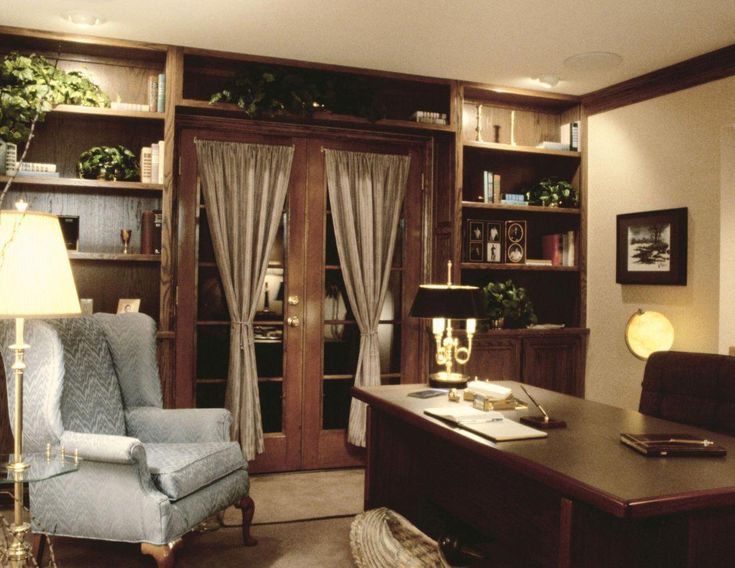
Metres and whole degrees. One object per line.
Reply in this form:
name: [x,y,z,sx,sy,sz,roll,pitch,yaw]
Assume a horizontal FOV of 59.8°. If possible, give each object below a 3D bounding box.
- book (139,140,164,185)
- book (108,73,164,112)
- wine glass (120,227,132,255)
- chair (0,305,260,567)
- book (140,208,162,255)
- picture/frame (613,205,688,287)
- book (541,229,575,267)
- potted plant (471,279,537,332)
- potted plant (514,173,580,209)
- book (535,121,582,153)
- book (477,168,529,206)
book: [-1.525,-0.848,4.523,0.152,0.297,0.229,-8,9,-37]
book: [-1.626,-1.350,4.546,0.377,0.312,0.315,-5,8,-21]
wine glass: [-1.708,-0.305,4.528,0.082,0.170,0.250,-5,7,-20]
chair: [-1.348,0.827,4.019,1.321,1.852,1.484,-1,-2,14]
book: [-1.532,-0.362,4.535,0.122,0.366,0.293,0,3,-18]
picture/frame: [2.147,-0.283,4.804,0.048,0.589,0.587,2,-4,-29]
book: [1.625,-0.278,5.599,0.240,0.419,0.418,1,4,-7]
potted plant: [1.166,0.168,5.390,0.495,0.475,0.508,1,2,-7]
potted plant: [1.499,-0.762,5.426,0.348,0.168,0.339,-2,8,-42]
book: [1.559,-1.242,5.458,0.432,0.258,0.301,-6,8,-25]
book: [1.102,-0.741,5.230,0.281,0.407,0.408,-1,0,-10]
